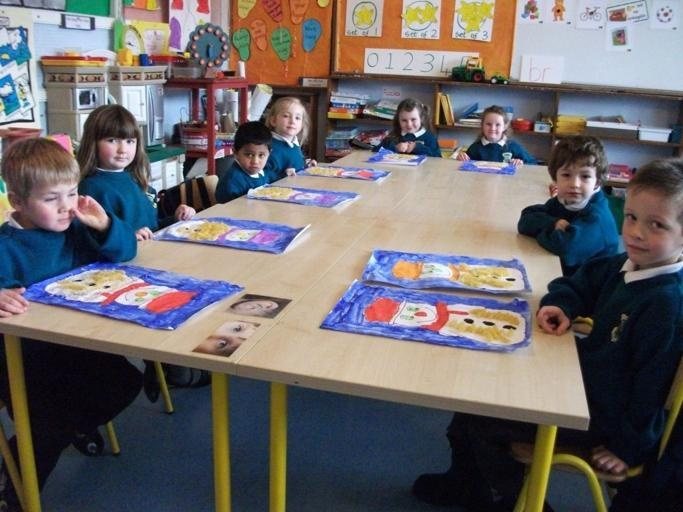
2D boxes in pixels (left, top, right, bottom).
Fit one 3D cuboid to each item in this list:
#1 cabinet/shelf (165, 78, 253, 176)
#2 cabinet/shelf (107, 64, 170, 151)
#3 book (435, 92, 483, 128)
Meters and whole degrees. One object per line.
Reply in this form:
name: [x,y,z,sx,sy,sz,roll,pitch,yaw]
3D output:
cabinet/shelf: [-1.154,-1.054,4.368,0.639,0.807,0.616,10,22,17]
cabinet/shelf: [-1.452,-1.040,3.641,0.250,0.564,0.600,5,20,6]
book: [1.155,-1.404,5.141,0.570,0.357,0.388,5,21,17]
